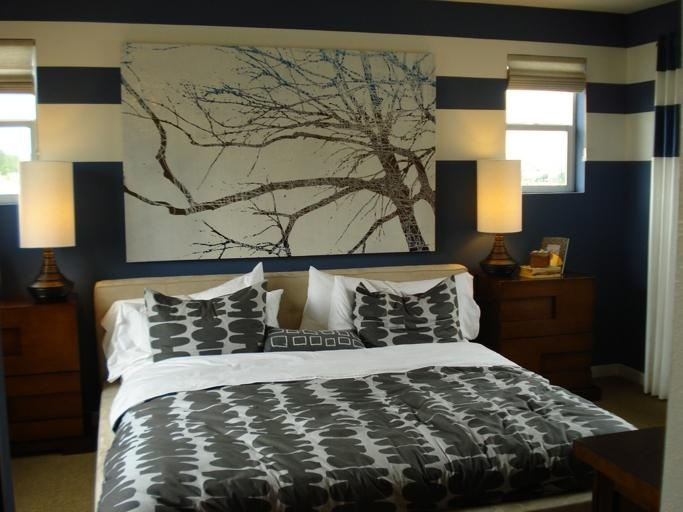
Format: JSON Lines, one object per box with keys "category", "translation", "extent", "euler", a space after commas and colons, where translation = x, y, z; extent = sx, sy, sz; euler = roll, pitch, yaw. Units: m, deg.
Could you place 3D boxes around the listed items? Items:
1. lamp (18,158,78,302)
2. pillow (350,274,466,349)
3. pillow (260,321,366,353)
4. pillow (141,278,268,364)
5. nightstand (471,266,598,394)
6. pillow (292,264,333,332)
{"category": "lamp", "translation": [-1.956, -0.168, 3.586], "extent": [0.330, 0.935, 0.214], "euler": [-3, 6, -17]}
{"category": "pillow", "translation": [0.451, 0.424, 3.680], "extent": [0.579, 0.472, 0.151], "euler": [-2, -28, -8]}
{"category": "pillow", "translation": [-0.208, 0.541, 3.503], "extent": [0.486, 0.145, 0.085], "euler": [2, -27, -7]}
{"category": "pillow", "translation": [-0.870, 0.433, 3.465], "extent": [0.621, 0.401, 0.184], "euler": [-5, -41, -13]}
{"category": "nightstand", "translation": [1.538, 0.481, 4.521], "extent": [1.370, 1.060, 0.884], "euler": [-2, 2, -13]}
{"category": "pillow", "translation": [-0.211, 0.328, 3.978], "extent": [0.185, 0.401, 0.379], "euler": [0, -24, 17]}
